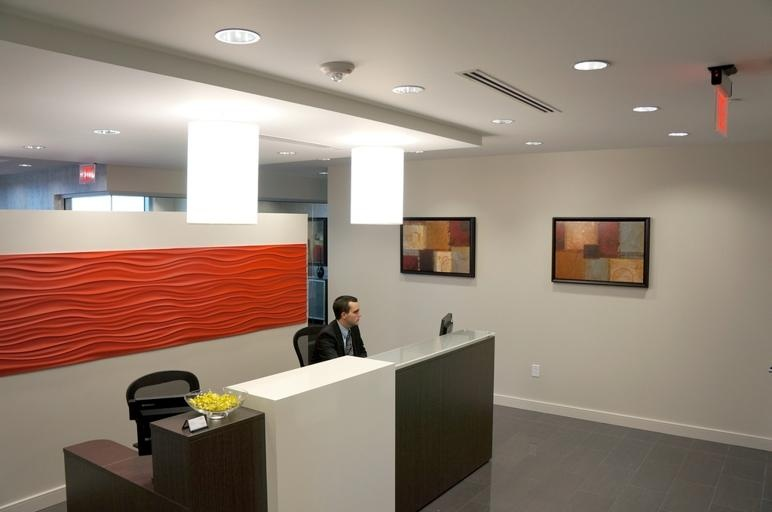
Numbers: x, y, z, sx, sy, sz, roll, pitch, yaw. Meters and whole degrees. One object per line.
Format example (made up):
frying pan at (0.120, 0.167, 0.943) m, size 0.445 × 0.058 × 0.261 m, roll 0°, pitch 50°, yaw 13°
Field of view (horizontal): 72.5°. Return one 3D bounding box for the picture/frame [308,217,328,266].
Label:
picture/frame at (-1.364, -0.277, 10.396) m, size 0.346 × 0.922 × 0.474 m, roll -1°, pitch 9°, yaw -12°

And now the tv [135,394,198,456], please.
tv at (-1.518, 1.174, 3.653) m, size 0.462 × 0.431 × 0.300 m, roll -1°, pitch 15°, yaw -13°

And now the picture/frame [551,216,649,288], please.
picture/frame at (2.817, -0.051, 6.777) m, size 0.939 × 0.744 × 0.042 m, roll 1°, pitch 3°, yaw 32°

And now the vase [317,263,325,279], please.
vase at (-1.262, 0.323, 10.312) m, size 0.167 × 0.281 × 0.080 m, roll 0°, pitch 9°, yaw -2°
